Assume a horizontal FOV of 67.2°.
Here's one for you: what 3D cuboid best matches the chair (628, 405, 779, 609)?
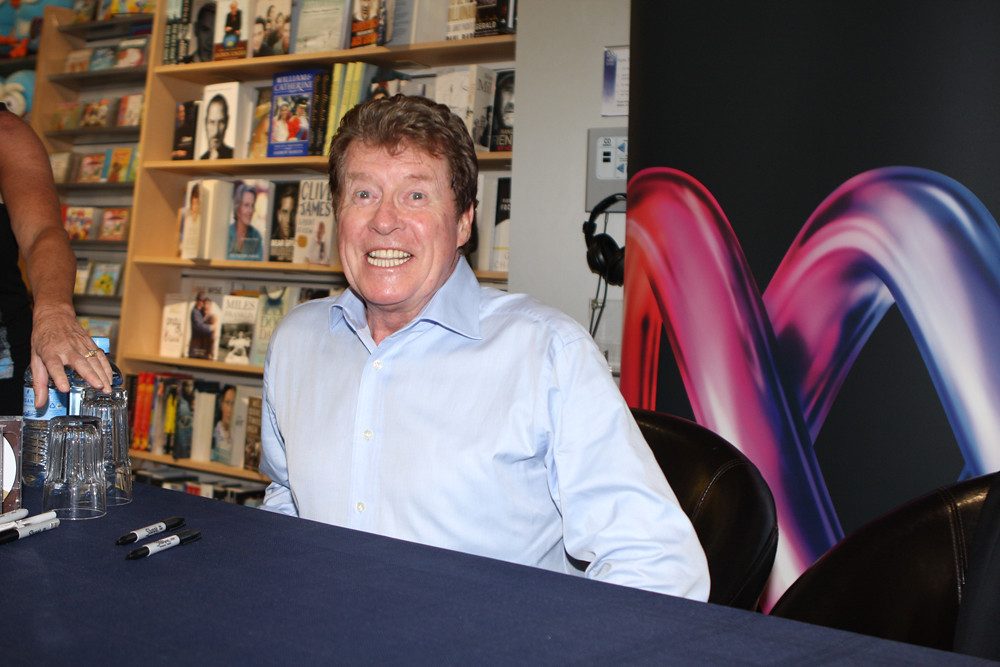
[{"bbox_3d":[0.520,0.453,1.856,0.411,0.480,0.369,4,-7,33],"label":"chair"}]

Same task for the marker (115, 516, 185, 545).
[{"bbox_3d":[-0.636,0.356,1.394,0.033,0.025,0.139,10,12,32],"label":"marker"}]

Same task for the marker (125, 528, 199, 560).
[{"bbox_3d":[-0.596,0.369,1.341,0.037,0.025,0.131,12,16,32],"label":"marker"}]
